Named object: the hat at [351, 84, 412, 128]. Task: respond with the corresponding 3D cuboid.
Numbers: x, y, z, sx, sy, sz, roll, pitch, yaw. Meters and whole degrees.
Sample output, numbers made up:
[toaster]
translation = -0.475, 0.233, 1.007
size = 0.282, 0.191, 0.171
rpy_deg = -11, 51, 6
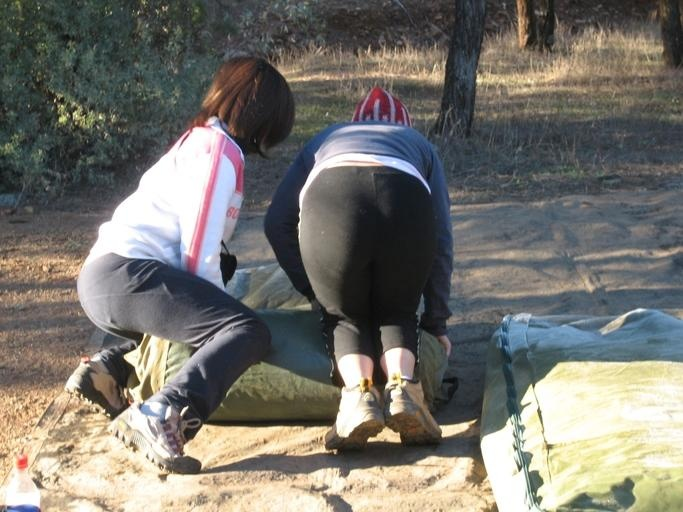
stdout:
[hat]
translation = 0.433, -1.605, 15.462
size = 0.350, 0.440, 0.644
rpy_deg = 3, 19, 12
